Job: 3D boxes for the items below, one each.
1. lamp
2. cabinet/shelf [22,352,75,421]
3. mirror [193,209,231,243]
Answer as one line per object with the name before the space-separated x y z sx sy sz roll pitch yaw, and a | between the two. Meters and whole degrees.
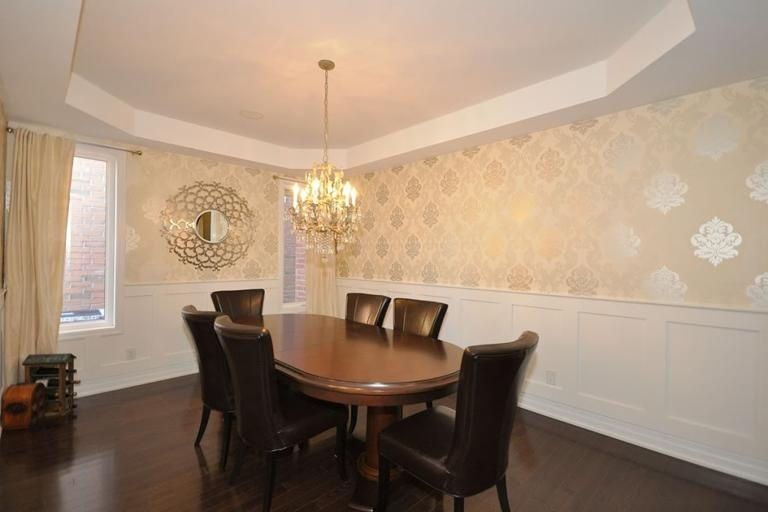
lamp | -0.693 -0.968 5.577 0.651 1.843 1.769 0 0 -7
cabinet/shelf | -3.424 1.319 5.040 0.481 0.614 0.347 0 1 -27
mirror | -2.261 -0.388 6.354 0.424 0.368 0.037 6 -2 -44
